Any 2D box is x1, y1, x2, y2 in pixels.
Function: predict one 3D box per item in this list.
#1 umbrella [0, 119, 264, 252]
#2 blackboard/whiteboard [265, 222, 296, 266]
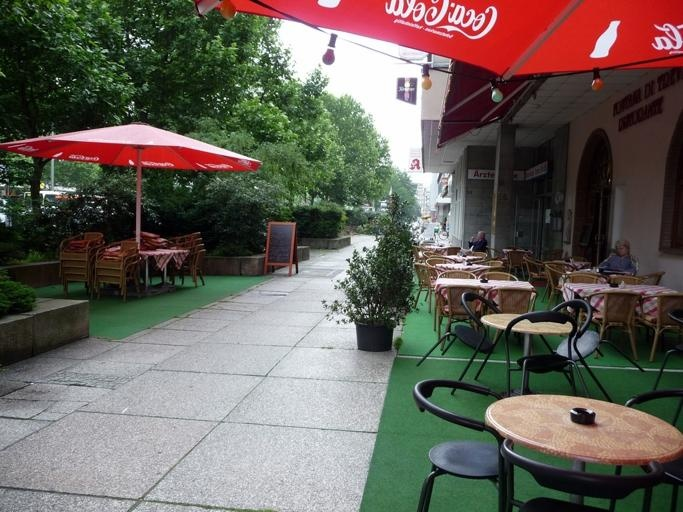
[{"bbox_3d":[-4.568,-1.545,10.688,4.727,2.659,3.176,0,-3,-33],"label":"umbrella"},{"bbox_3d":[-1.882,-0.389,14.745,0.925,1.329,0.507,-2,-2,-9],"label":"blackboard/whiteboard"}]
